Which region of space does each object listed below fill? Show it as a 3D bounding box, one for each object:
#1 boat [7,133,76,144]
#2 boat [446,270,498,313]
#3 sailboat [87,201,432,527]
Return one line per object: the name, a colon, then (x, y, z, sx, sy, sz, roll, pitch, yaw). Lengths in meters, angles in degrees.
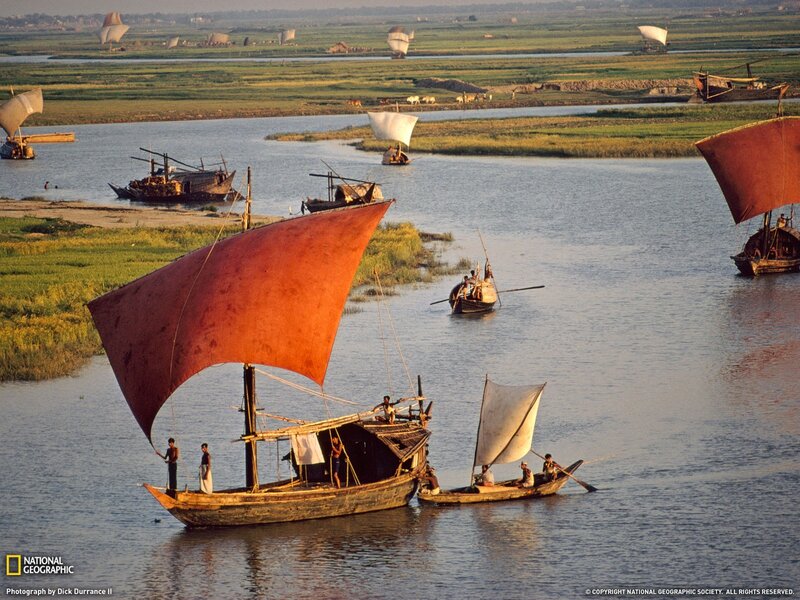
boat: (-31.934, -14.395, 175.047, 5.715, 0.915, 1.847, -2, -11, 0)
boat: (4.007, -0.294, 111.447, 2.614, 1.979, 1.380, -4, 16, -7)
sailboat: (-6.690, 3.104, 96.001, 14.067, 13.834, 7.403, -4, 16, -7)
